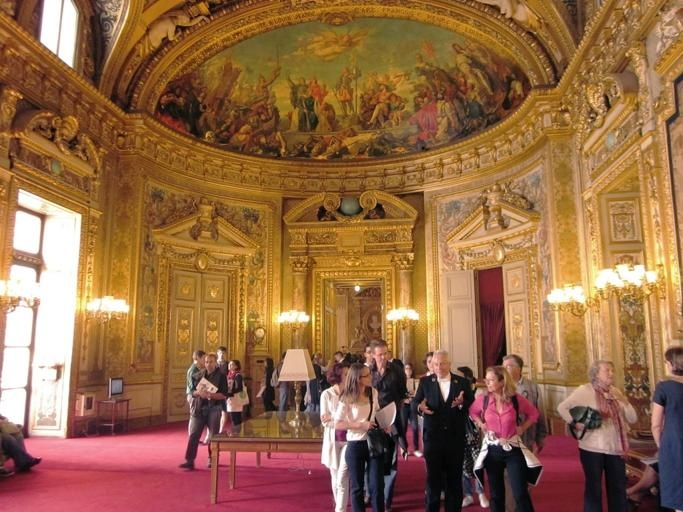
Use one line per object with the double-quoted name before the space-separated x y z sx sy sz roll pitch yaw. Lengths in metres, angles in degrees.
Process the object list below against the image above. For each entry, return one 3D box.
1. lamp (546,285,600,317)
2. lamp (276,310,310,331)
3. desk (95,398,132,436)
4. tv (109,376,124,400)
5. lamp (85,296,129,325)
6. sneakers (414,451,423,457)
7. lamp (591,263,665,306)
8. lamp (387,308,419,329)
"lamp" 5.129 0.979 12.019 0.804 0.461 0.752 2 -7 6
"lamp" -1.560 2.151 18.152 0.646 0.540 0.781 0 -13 -2
"desk" -5.854 4.068 14.103 0.600 0.884 1.017 -1 -3 12
"tv" -5.752 3.351 13.949 0.080 0.512 0.572 -5 -10 27
"lamp" -5.974 1.403 14.043 0.699 0.439 0.714 0 -9 -3
"sneakers" 1.554 4.036 11.209 0.103 0.079 0.191 3 -15 -16
"lamp" 4.864 0.473 9.518 0.722 0.405 0.815 -1 -9 0
"lamp" 1.935 2.084 17.750 0.728 0.537 0.744 1 -11 -5
